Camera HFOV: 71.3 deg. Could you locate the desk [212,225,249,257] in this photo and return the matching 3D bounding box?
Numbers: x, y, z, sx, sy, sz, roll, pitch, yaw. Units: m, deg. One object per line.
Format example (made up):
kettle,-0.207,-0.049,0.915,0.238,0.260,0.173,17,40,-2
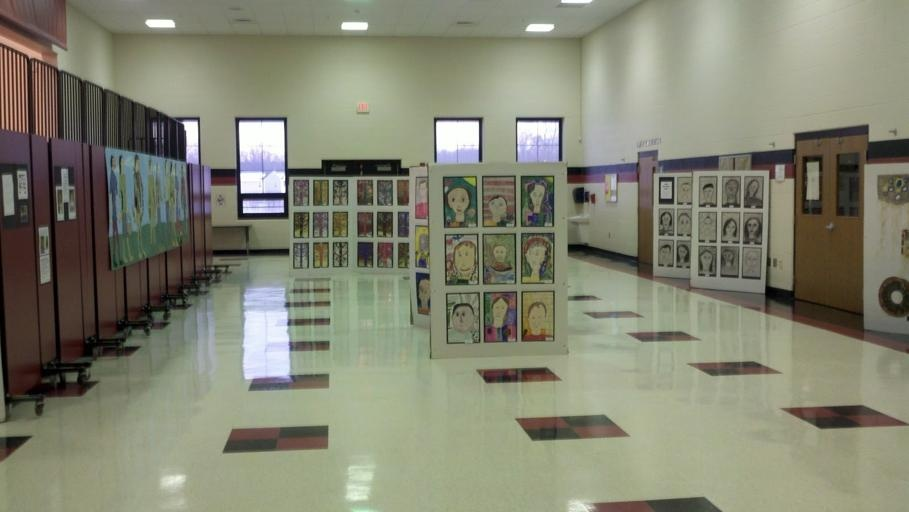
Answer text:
desk,-6.622,-0.575,18.800,1.471,0.695,0.819,0,2,-4
